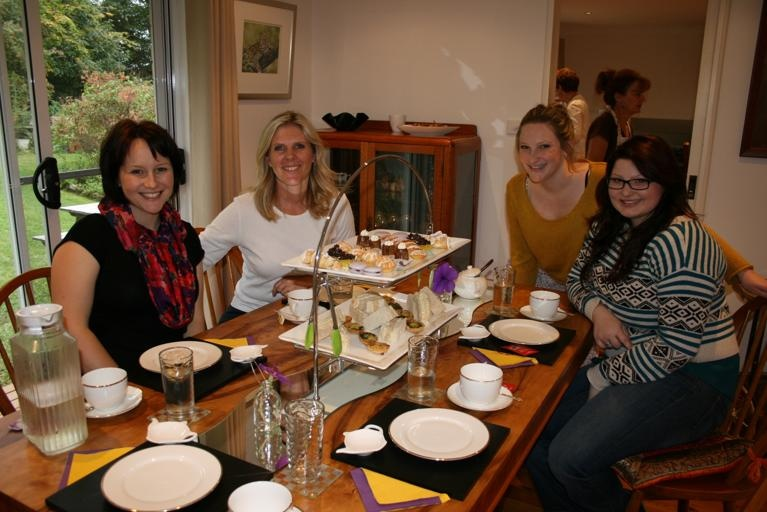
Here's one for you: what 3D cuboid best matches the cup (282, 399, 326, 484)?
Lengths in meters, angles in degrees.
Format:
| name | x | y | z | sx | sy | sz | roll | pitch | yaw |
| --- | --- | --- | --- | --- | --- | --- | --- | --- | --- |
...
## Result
| name | x | y | z | sx | sy | sz | roll | pitch | yaw |
| --- | --- | --- | --- | --- | --- | --- | --- | --- | --- |
| cup | -0.225 | 0.528 | 1.480 | 0.106 | 0.214 | 0.124 | 1 | 21 | 3 |

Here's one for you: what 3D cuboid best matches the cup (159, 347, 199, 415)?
| name | x | y | z | sx | sy | sz | roll | pitch | yaw |
| --- | --- | --- | --- | --- | --- | --- | --- | --- | --- |
| cup | -0.672 | 0.411 | 1.690 | 0.107 | 0.213 | 0.144 | -4 | 21 | -10 |

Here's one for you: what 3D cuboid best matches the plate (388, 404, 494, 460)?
| name | x | y | z | sx | sy | sz | roll | pitch | yaw |
| --- | --- | --- | --- | --- | --- | --- | --- | --- | --- |
| plate | 0.175 | 0.558 | 1.624 | 0.312 | 0.042 | 0.206 | 0 | 20 | 1 |

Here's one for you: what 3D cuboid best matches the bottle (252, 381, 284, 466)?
| name | x | y | z | sx | sy | sz | roll | pitch | yaw |
| --- | --- | --- | --- | --- | --- | --- | --- | --- | --- |
| bottle | -0.353 | 0.488 | 1.558 | 0.093 | 0.224 | 0.236 | -6 | 21 | -13 |

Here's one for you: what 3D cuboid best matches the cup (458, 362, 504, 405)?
| name | x | y | z | sx | sy | sz | roll | pitch | yaw |
| --- | --- | --- | --- | --- | --- | --- | --- | --- | --- |
| cup | 0.338 | 0.433 | 1.781 | 0.129 | 0.081 | 0.136 | 0 | 5 | 0 |

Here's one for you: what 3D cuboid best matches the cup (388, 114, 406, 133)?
| name | x | y | z | sx | sy | sz | roll | pitch | yaw |
| --- | --- | --- | --- | --- | --- | --- | --- | --- | --- |
| cup | 0.117 | -1.145 | 4.460 | 0.155 | 0.161 | 0.150 | 0 | 9 | 0 |

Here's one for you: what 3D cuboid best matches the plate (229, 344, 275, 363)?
| name | x | y | z | sx | sy | sz | roll | pitch | yaw |
| --- | --- | --- | --- | --- | --- | --- | --- | --- | --- |
| plate | -0.513 | 0.367 | 1.967 | 0.086 | 0.017 | 0.072 | -14 | 20 | -41 |

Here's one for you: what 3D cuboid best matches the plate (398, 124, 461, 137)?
| name | x | y | z | sx | sy | sz | roll | pitch | yaw |
| --- | --- | --- | --- | --- | --- | --- | --- | --- | --- |
| plate | 0.381 | -1.055 | 4.326 | 0.506 | 0.088 | 0.301 | 0 | 20 | 3 |

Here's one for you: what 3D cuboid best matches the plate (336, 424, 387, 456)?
| name | x | y | z | sx | sy | sz | roll | pitch | yaw |
| --- | --- | --- | --- | --- | --- | --- | --- | --- | --- |
| plate | -0.074 | 0.567 | 1.587 | 0.157 | 0.040 | 0.105 | -7 | 21 | -18 |

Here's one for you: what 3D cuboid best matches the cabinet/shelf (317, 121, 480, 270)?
| name | x | y | z | sx | sy | sz | roll | pitch | yaw |
| --- | --- | --- | --- | --- | --- | --- | --- | --- | --- |
| cabinet/shelf | 0.137 | -0.484 | 3.732 | 1.217 | 1.255 | 0.458 | 4 | 12 | 16 |

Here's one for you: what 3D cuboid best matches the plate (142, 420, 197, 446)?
| name | x | y | z | sx | sy | sz | roll | pitch | yaw |
| --- | --- | --- | --- | --- | --- | --- | --- | --- | --- |
| plate | -0.653 | 0.544 | 1.601 | 0.158 | 0.035 | 0.095 | -4 | 20 | -9 |

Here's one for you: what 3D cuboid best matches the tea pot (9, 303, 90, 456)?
| name | x | y | z | sx | sy | sz | roll | pitch | yaw |
| --- | --- | --- | --- | --- | --- | --- | --- | --- | --- |
| tea pot | -1.034 | 0.372 | 1.575 | 0.202 | 0.421 | 0.222 | -10 | 23 | -23 |

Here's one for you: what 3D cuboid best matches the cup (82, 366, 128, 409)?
| name | x | y | z | sx | sy | sz | roll | pitch | yaw |
| --- | --- | --- | --- | --- | --- | --- | --- | --- | --- |
| cup | -0.911 | 0.430 | 1.735 | 0.131 | 0.097 | 0.137 | 2 | 0 | 0 |
